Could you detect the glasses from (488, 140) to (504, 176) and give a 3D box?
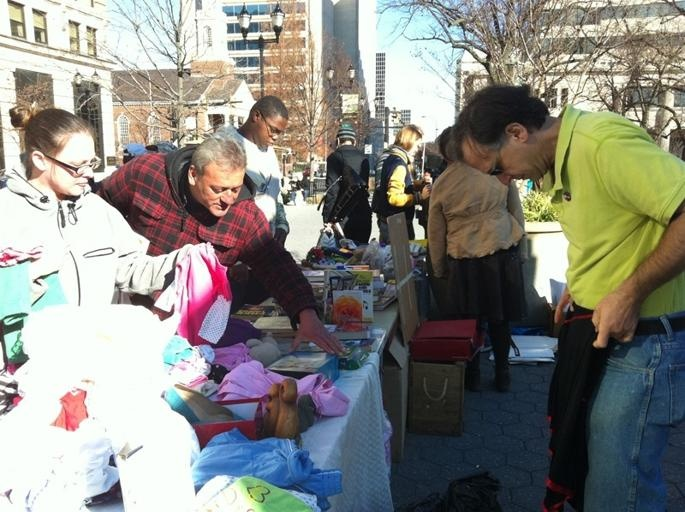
[{"bbox_3d":[0.664,-0.435,2.545,0.064,0.144,0.051,-31,39,-27],"label":"glasses"}]

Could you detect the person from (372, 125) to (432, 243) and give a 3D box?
[{"bbox_3d":[0.635,-0.750,6.490,0.634,1.365,0.927,0,12,9],"label":"person"}]

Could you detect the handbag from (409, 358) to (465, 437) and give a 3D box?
[{"bbox_3d":[0.687,1.033,4.559,0.485,0.731,0.504,2,7,6],"label":"handbag"}]

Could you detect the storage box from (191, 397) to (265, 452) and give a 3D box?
[{"bbox_3d":[-0.413,0.640,2.250,0.146,0.103,0.151,-5,3,19],"label":"storage box"}]

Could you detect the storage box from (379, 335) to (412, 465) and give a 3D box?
[{"bbox_3d":[0.359,0.948,4.109,0.157,0.905,0.457,0,11,9],"label":"storage box"}]

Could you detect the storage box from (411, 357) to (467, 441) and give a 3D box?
[{"bbox_3d":[0.764,1.053,4.609,0.466,0.731,0.517,2,0,12],"label":"storage box"}]

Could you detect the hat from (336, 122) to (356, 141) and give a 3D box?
[{"bbox_3d":[0.025,-1.547,7.111,0.225,0.272,0.265,1,-1,-1],"label":"hat"}]

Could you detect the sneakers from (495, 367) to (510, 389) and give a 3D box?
[{"bbox_3d":[1.383,1.059,5.129,0.084,0.174,0.239,-2,20,8],"label":"sneakers"}]

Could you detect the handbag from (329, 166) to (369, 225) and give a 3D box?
[{"bbox_3d":[0.051,-0.683,6.826,0.272,0.377,0.528,22,47,6],"label":"handbag"}]
